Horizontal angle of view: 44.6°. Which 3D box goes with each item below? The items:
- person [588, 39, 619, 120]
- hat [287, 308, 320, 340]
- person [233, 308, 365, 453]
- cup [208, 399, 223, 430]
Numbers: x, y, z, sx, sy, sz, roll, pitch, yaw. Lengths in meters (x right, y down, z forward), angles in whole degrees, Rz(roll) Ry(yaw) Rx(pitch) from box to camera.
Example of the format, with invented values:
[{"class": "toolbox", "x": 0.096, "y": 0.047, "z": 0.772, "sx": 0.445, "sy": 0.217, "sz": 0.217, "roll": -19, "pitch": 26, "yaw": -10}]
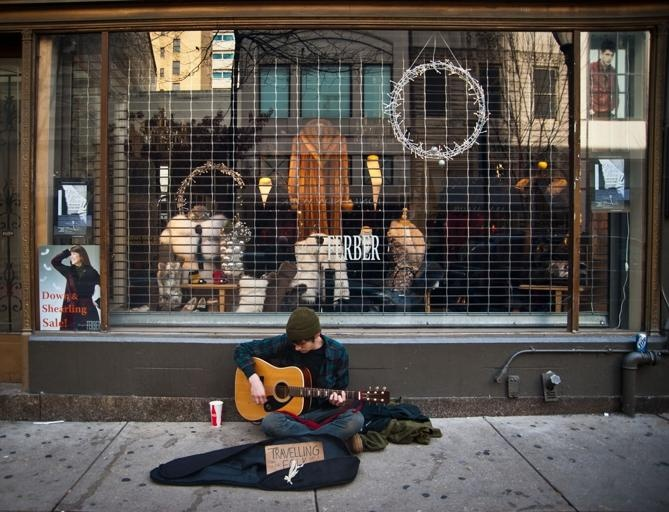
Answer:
[{"class": "person", "x": 2.995, "y": -1.974, "z": 9.166, "sx": 0.298, "sy": 0.882, "sz": 0.087, "roll": -2, "pitch": 3, "yaw": 16}, {"class": "hat", "x": -0.325, "y": 0.678, "z": 8.294, "sx": 0.356, "sy": 0.292, "sz": 0.391, "roll": 2, "pitch": 12, "yaw": 21}, {"class": "person", "x": -0.337, "y": 1.243, "z": 8.191, "sx": 1.225, "sy": 1.421, "sz": 0.624, "roll": -2, "pitch": 3, "yaw": 1}, {"class": "cup", "x": -1.257, "y": 1.680, "z": 8.754, "sx": 0.135, "sy": 0.281, "sz": 0.181, "roll": -3, "pitch": 2, "yaw": -8}]
